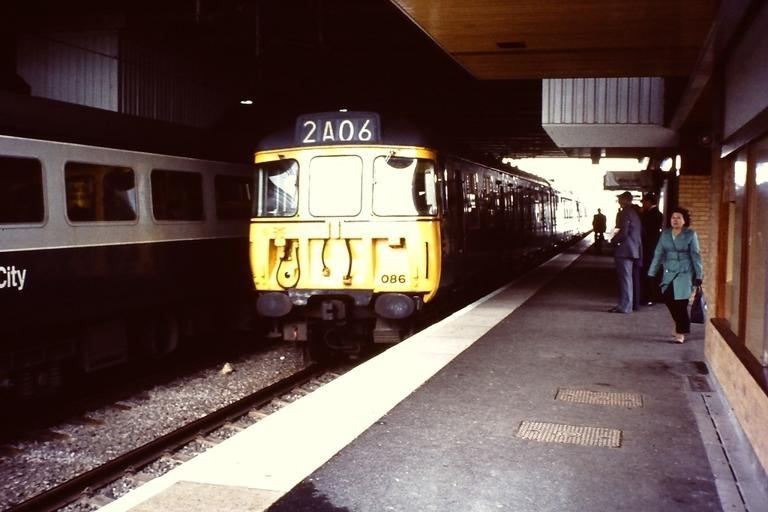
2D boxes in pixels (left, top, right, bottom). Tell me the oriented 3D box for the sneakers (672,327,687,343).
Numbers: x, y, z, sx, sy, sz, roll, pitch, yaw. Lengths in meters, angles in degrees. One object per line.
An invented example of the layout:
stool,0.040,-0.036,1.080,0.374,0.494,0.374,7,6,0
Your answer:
sneakers,4.749,1.296,9.259,0.156,0.278,0.457,-8,-8,23

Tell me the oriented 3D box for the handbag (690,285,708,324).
handbag,4.618,0.648,8.411,0.175,0.447,0.467,7,9,26

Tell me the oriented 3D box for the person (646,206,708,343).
person,4.630,0.317,8.976,0.577,2.152,0.841,-6,8,-39

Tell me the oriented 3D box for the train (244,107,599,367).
train,1.065,-0.571,12.916,2.842,4.748,8.537,3,7,32
